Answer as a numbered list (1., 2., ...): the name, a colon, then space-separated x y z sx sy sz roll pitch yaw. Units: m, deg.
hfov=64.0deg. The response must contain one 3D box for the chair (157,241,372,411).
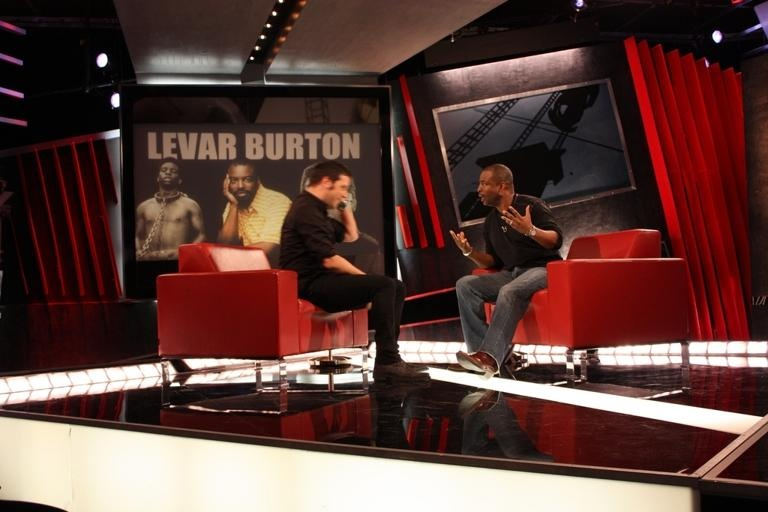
1. chair: -0.850 0.431 4.812 1.048 1.035 1.384 -3 -5 25

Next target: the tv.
1. tv: -1.323 -0.554 6.265 2.942 1.986 0.164 -1 -5 9

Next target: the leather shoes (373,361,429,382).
1. leather shoes: 0.141 0.843 4.562 0.463 0.167 0.148 -1 -5 0

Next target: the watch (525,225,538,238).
1. watch: 1.130 -0.193 4.731 0.058 0.089 0.088 29 14 -7

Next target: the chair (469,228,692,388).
1. chair: 1.594 0.384 4.978 1.045 1.107 1.287 -2 -4 -12
